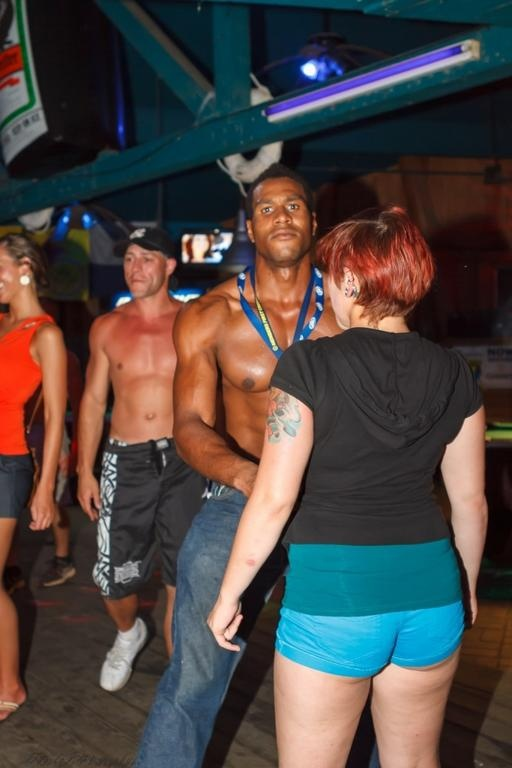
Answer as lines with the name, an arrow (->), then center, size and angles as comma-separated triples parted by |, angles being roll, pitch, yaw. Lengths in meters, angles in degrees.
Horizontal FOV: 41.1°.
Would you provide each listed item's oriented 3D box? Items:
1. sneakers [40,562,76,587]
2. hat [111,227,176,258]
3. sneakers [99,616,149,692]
sneakers -> -1.384, 1.336, 4.840 | 0.233, 0.134, 0.090 | -7, -7, -42
hat -> -0.558, -0.745, 3.565 | 0.292, 0.130, 0.199 | 17, -1, -29
sneakers -> -0.615, 1.294, 3.296 | 0.136, 0.143, 0.352 | 16, 55, 19
